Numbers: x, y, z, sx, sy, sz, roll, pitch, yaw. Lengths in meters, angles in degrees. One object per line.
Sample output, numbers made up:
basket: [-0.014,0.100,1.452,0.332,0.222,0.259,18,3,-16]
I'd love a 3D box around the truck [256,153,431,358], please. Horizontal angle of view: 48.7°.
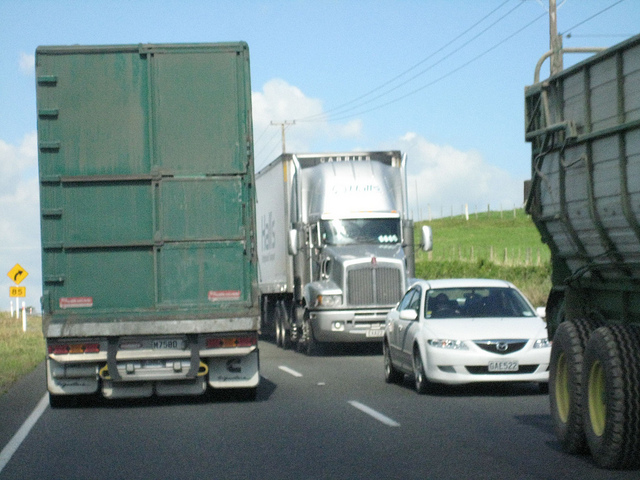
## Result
truck: [0.422,0.214,23.464,3.075,4.834,8.214,0,-4,-10]

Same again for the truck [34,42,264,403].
truck: [-2.984,-0.660,15.017,3.456,5.682,7.968,-1,7,-6]
